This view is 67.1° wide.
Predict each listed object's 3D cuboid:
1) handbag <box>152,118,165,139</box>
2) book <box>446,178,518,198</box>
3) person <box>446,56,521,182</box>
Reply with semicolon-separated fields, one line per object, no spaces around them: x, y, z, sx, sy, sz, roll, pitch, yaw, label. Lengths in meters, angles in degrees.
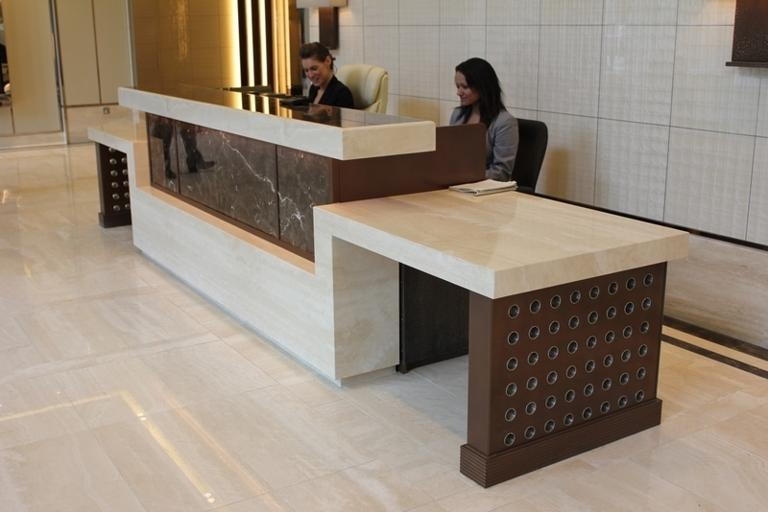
-2.053;-1.175;5.272;0.094;0.167;0.174;-14;24;-41;handbag
0.646;-0.459;3.808;0.414;0.055;0.236;-13;26;-30;book
0.810;-1.114;4.640;0.407;0.892;0.713;-5;23;-14;person
